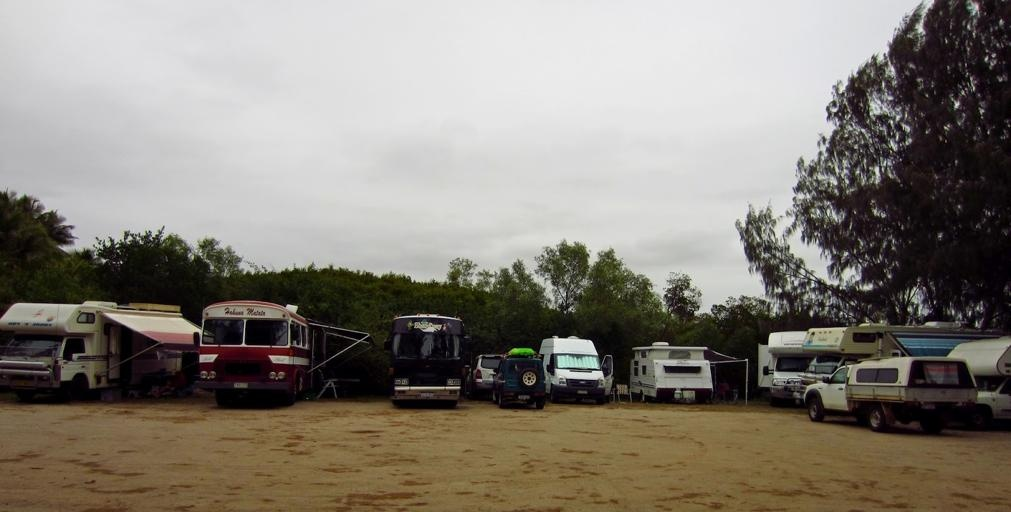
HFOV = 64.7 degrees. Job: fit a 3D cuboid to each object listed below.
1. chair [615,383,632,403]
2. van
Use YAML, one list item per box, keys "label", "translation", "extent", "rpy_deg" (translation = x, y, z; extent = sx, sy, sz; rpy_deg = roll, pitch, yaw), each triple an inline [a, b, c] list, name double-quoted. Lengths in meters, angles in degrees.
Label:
- label: "chair"
  translation: [8.481, 9.879, 57.636]
  extent: [1.331, 1.288, 1.136]
  rpy_deg: [0, -9, -3]
- label: "van"
  translation: [4.607, 7.953, 54.096]
  extent: [4.292, 4.682, 9.206]
  rpy_deg: [0, -2, -4]
